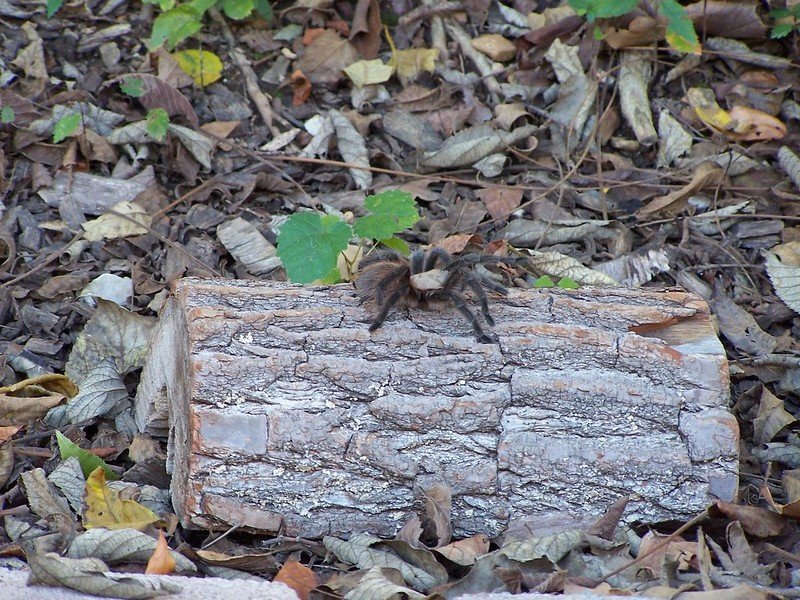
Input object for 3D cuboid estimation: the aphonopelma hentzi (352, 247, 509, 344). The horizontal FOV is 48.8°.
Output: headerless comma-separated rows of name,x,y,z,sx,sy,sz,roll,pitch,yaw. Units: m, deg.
aphonopelma hentzi,0.114,-0.090,4.299,0.608,0.167,0.551,13,37,16
